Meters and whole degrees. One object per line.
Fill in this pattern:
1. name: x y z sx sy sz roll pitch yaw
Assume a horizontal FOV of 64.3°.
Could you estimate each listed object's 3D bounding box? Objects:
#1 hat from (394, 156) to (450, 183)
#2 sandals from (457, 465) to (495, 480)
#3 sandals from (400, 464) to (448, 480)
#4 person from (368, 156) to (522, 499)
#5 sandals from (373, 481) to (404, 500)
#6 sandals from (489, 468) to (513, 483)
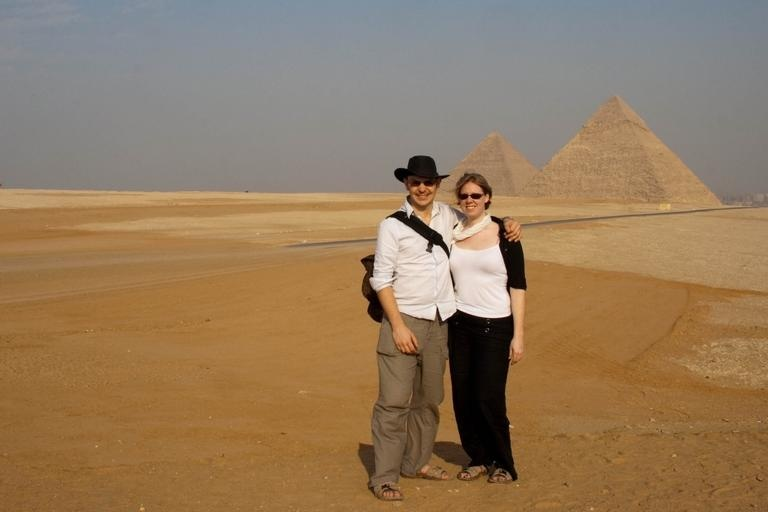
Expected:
1. hat: 0.265 -0.701 4.924 0.368 0.201 0.149 3 11 9
2. sandals: 0.775 1.853 5.214 0.272 0.074 0.128 4 0 -9
3. sandals: 0.359 1.865 5.222 0.367 0.078 0.151 -1 2 4
4. person: 0.214 0.614 5.001 0.740 2.840 0.823 2 12 1
5. sandals: 0.037 1.894 4.900 0.231 0.135 0.094 1 11 -2
6. sandals: 0.969 1.823 5.045 0.161 0.067 0.207 0 -3 8
